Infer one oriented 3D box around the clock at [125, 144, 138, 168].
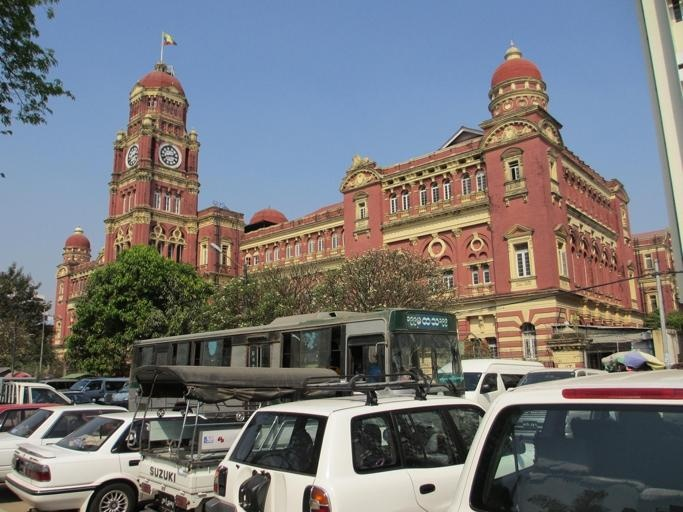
[{"bbox_3d":[-21.389,-10.103,59.469,0.249,2.295,2.337,6,21,-39],"label":"clock"}]
